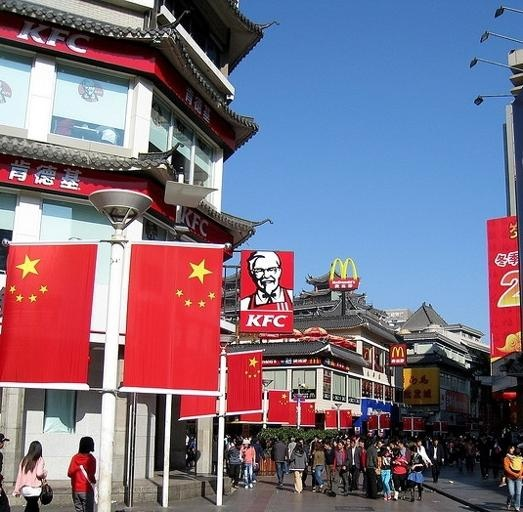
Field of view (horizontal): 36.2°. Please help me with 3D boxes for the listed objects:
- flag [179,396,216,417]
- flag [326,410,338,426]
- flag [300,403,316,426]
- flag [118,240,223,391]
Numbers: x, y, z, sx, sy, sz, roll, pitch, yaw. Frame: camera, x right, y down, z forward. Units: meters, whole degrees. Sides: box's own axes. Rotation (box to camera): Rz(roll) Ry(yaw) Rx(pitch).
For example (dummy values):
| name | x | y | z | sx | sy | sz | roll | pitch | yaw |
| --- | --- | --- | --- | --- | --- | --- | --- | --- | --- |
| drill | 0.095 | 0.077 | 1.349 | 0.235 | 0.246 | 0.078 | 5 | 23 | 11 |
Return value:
| name | x | y | z | sx | sy | sz | roll | pitch | yaw |
| --- | --- | --- | --- | --- | --- | --- | --- | --- | --- |
| flag | -1.743 | 4.188 | 22.070 | 0.969 | 0.606 | 0.917 | 3 | -13 | -5 |
| flag | 4.277 | 9.850 | 48.316 | 0.901 | 1.242 | 0.642 | -2 | -4 | 13 |
| flag | 2.654 | 9.130 | 45.960 | 1.173 | 1.429 | 0.777 | 2 | -18 | -5 |
| flag | -1.752 | 1.161 | 15.571 | 2.818 | 3.827 | 0.251 | 4 | -7 | -20 |
